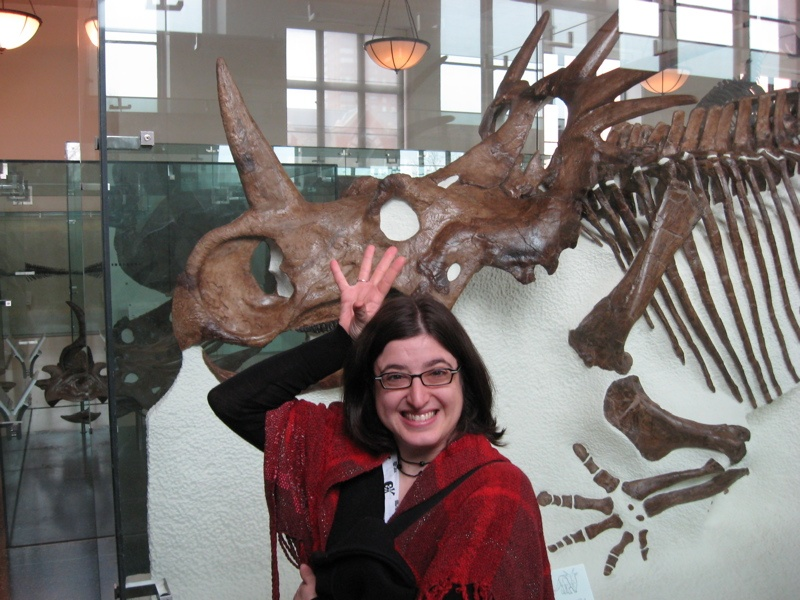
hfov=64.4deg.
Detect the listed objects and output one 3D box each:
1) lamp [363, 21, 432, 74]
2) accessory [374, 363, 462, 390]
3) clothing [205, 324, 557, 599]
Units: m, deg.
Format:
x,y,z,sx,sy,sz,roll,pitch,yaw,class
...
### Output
x,y,z,sx,sy,sz,roll,pitch,yaw,class
-0.013,-1.038,2.680,0.303,0.134,0.036,-9,16,-29,lamp
0.032,0.184,1.508,0.177,0.051,0.031,0,14,1,accessory
-0.037,0.559,1.618,0.595,0.305,0.951,-10,43,-3,clothing
